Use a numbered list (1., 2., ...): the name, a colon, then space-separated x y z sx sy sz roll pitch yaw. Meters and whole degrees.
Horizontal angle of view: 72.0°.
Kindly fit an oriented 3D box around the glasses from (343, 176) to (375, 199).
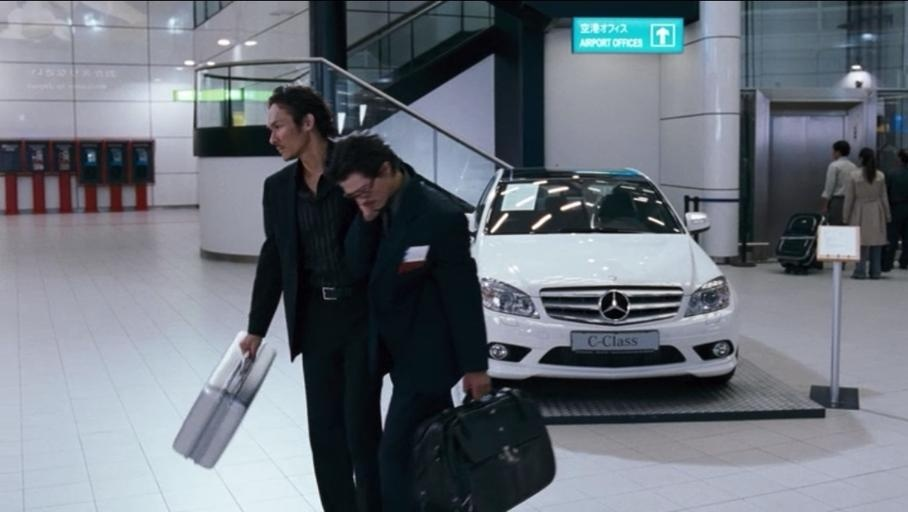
1. glasses: -0.545 -0.384 3.578 0.122 0.069 0.153 -20 9 21

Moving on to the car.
1. car: 1.380 0.129 6.153 1.843 1.209 2.947 -1 0 -3

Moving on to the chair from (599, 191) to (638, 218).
1. chair: 1.816 -0.573 7.005 0.381 0.348 0.262 1 1 -1

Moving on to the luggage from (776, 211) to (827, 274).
1. luggage: 6.782 -0.289 12.155 0.998 1.005 0.658 -3 11 -40

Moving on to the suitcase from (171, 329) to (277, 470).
1. suitcase: -1.510 0.917 4.376 0.483 1.039 0.252 32 1 -1
